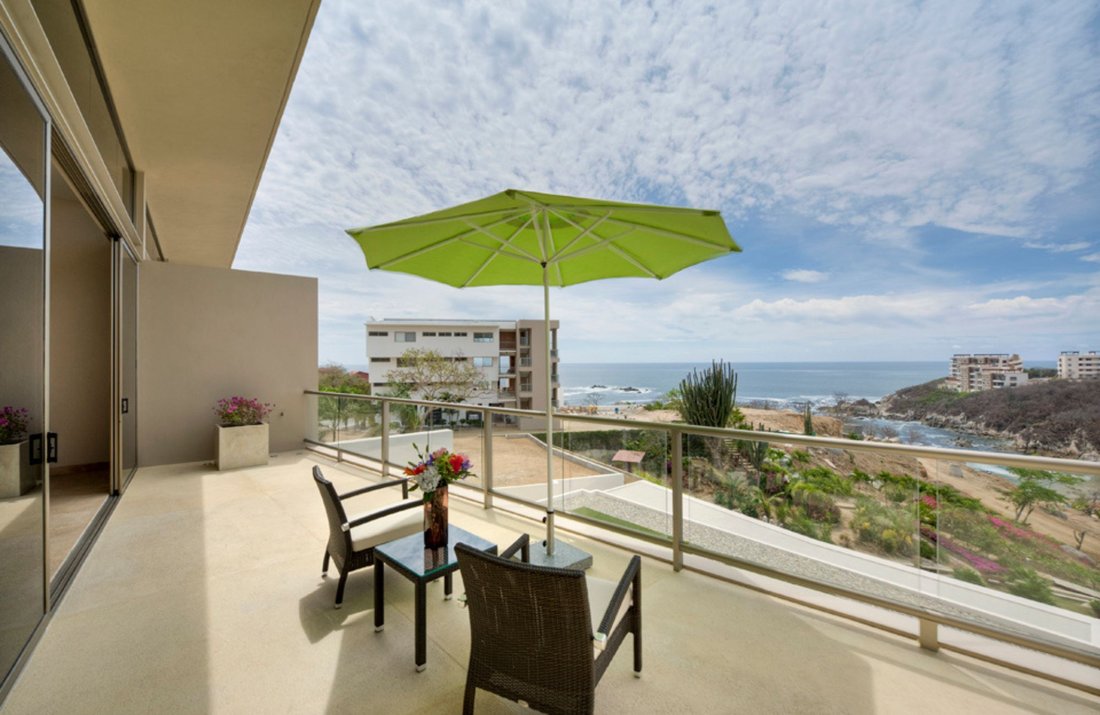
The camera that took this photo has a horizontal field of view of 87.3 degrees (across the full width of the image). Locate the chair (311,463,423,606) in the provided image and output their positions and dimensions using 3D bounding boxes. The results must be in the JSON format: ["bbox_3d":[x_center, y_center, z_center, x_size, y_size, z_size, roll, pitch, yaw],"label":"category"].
[{"bbox_3d":[-1.829,1.580,5.646,1.273,1.294,0.962,-2,4,-36],"label":"chair"}]

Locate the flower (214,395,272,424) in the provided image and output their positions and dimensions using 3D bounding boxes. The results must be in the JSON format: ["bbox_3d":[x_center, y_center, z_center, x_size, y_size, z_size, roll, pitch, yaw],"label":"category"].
[{"bbox_3d":[-4.887,0.814,9.038,0.749,0.497,0.783,3,-6,-30],"label":"flower"}]

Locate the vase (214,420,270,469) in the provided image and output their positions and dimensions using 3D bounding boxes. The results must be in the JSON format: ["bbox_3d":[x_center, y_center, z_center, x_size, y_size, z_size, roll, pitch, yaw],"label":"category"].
[{"bbox_3d":[-4.788,1.326,8.814,0.696,0.601,0.444,0,4,-42],"label":"vase"}]

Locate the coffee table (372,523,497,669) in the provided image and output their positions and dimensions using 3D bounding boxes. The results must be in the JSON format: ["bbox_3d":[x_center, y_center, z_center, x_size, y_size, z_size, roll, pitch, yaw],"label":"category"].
[{"bbox_3d":[-0.967,1.823,4.956,1.104,0.930,1.097,-1,-1,41],"label":"coffee table"}]
